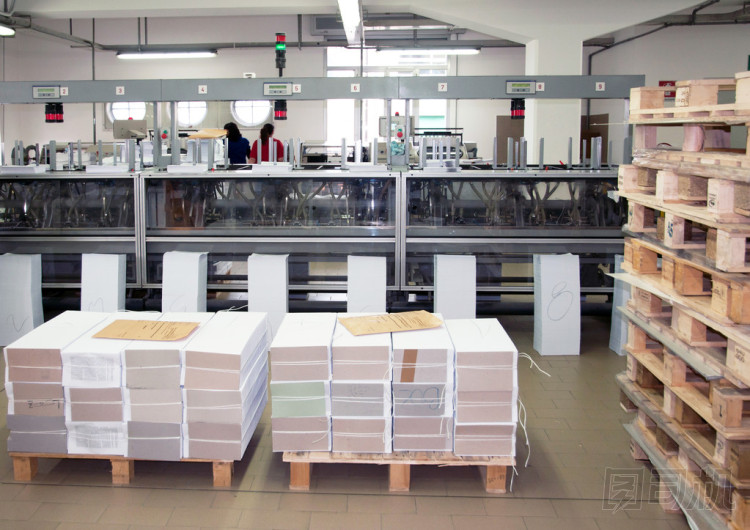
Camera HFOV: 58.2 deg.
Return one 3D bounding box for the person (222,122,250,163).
[{"bbox_3d":[-1.586,-1.398,7.795,0.252,0.484,1.141,-4,12,-11],"label":"person"}]
